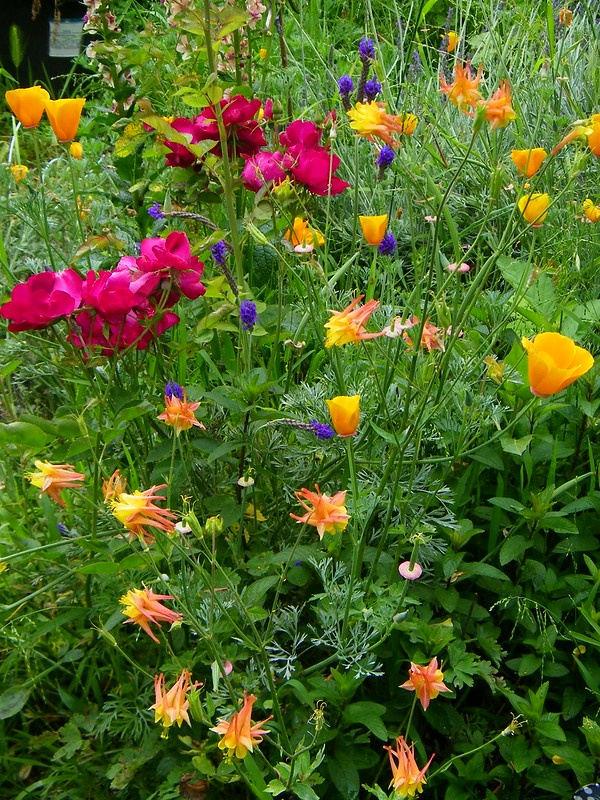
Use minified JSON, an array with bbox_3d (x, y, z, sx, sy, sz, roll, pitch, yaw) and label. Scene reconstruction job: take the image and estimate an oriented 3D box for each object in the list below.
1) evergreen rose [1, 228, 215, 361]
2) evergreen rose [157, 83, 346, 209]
[{"bbox_3d":[-0.265,-0.120,1.009,0.247,0.130,0.236,5,30,27],"label":"evergreen rose"},{"bbox_3d":[-0.074,-0.394,1.168,0.272,0.112,0.248,-6,44,-34],"label":"evergreen rose"}]
